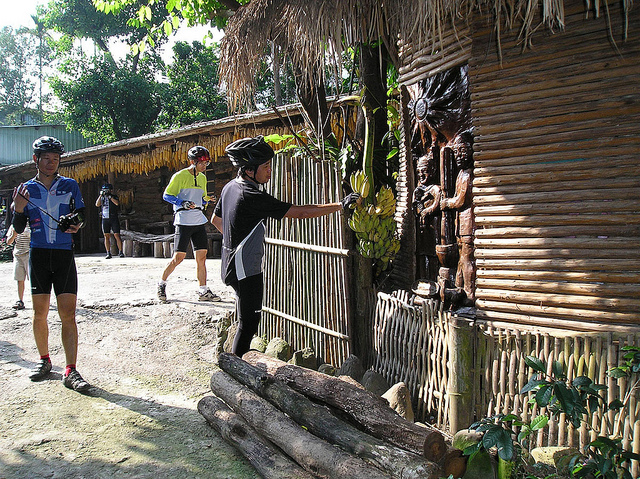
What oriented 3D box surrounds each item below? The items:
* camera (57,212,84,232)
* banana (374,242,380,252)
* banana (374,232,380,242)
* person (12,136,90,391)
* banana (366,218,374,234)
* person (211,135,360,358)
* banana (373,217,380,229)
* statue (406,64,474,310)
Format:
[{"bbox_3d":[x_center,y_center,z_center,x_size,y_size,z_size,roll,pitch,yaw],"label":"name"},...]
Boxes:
[{"bbox_3d":[-2.680,-0.193,5.317,0.225,0.144,0.091,-26,-8,-21],"label":"camera"},{"bbox_3d":[0.629,0.093,5.623,0.052,0.098,0.019,-2,4,-23],"label":"banana"},{"bbox_3d":[0.630,-0.026,5.595,0.019,0.093,0.060,3,0,35],"label":"banana"},{"bbox_3d":[-2.901,0.229,5.320,0.769,2.605,0.624,1,2,-9],"label":"person"},{"bbox_3d":[0.550,-0.151,5.560,0.099,0.145,0.032,-7,2,-8],"label":"banana"},{"bbox_3d":[-0.532,0.097,4.804,0.956,2.173,0.451,1,2,-2],"label":"person"},{"bbox_3d":[0.626,-0.185,5.611,0.099,0.106,0.016,-1,2,-45],"label":"banana"},{"bbox_3d":[1.282,-0.667,5.293,0.419,2.735,0.496,-6,9,-37],"label":"statue"}]
